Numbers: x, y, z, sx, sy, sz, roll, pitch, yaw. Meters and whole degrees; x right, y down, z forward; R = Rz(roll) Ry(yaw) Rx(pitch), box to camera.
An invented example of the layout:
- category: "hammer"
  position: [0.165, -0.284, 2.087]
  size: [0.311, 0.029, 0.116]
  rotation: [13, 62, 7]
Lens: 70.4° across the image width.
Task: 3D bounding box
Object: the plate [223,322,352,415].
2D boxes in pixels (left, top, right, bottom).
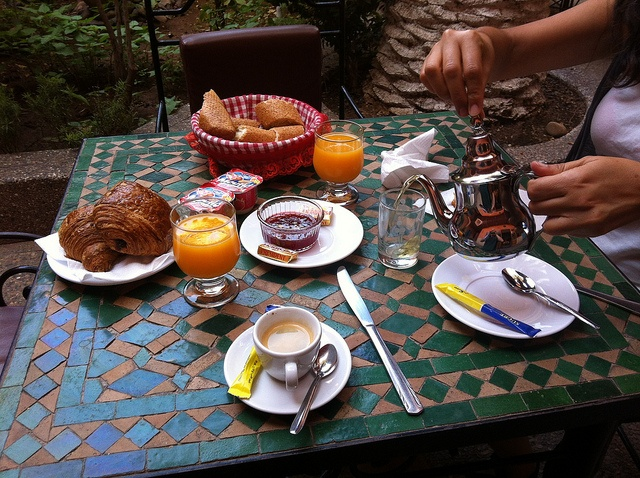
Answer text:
- category: "plate"
  position: [-0.055, 0.248, 0.867]
  size: [0.243, 0.037, 0.182]
  rotation: [-3, 44, -7]

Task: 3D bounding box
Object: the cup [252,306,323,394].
- category: "cup"
  position: [-0.061, 0.195, 0.851]
  size: [0.111, 0.069, 0.152]
  rotation: [-1, 35, -4]

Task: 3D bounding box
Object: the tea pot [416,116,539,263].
- category: "tea pot"
  position: [0.365, -0.107, 0.923]
  size: [0.297, 0.275, 0.177]
  rotation: [4, 31, 36]

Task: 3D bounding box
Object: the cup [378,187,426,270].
- category: "cup"
  position: [0.199, -0.019, 1.104]
  size: [0.119, 0.177, 0.116]
  rotation: [-1, 34, 1]

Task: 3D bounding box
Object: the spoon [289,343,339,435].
- category: "spoon"
  position: [-0.003, 0.260, 0.840]
  size: [0.044, 0.031, 0.217]
  rotation: [12, 41, 11]

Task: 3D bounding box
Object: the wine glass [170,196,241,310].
- category: "wine glass"
  position: [-0.254, 0.038, 1.016]
  size: [0.155, 0.220, 0.153]
  rotation: [17, 41, 22]

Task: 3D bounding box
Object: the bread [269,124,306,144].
- category: "bread"
  position: [-0.099, -0.332, 1.396]
  size: [0.096, 0.032, 0.056]
  rotation: [-13, 44, -14]

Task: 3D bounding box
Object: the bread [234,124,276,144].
- category: "bread"
  position: [-0.188, -0.310, 1.378]
  size: [0.119, 0.041, 0.054]
  rotation: [1, 42, -27]

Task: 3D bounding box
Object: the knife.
- category: "knife"
  position: [0.112, 0.167, 0.938]
  size: [0.064, 0.021, 0.442]
  rotation: [-9, 38, -10]
